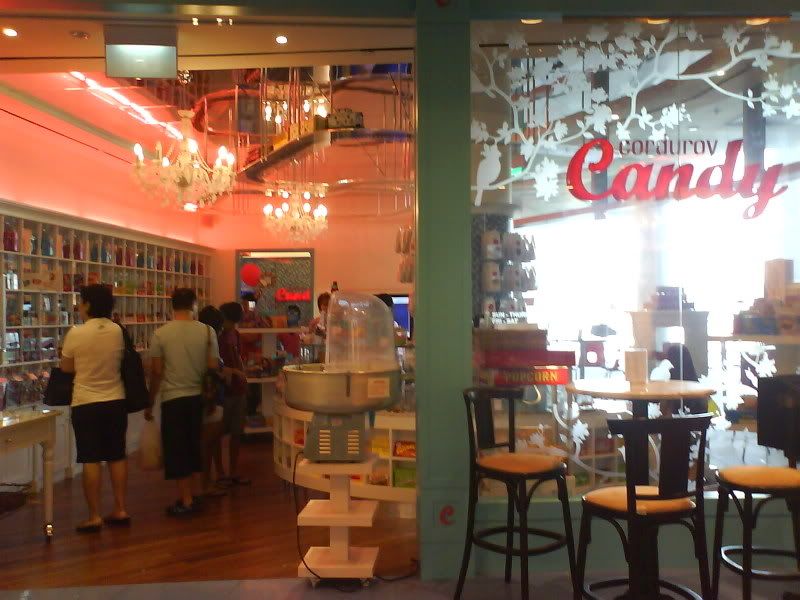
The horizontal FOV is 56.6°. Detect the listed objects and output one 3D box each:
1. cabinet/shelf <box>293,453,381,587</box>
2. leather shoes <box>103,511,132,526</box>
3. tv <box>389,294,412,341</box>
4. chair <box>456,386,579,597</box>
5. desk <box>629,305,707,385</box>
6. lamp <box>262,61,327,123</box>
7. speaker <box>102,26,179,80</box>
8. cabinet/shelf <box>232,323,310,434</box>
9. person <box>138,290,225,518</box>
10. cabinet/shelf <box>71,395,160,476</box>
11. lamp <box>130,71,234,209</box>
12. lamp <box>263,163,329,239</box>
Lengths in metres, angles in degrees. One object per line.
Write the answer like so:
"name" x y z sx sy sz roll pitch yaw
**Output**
"cabinet/shelf" -0.444 1.630 5.520 0.686 0.828 0.720 -4 -6 27
"leather shoes" -2.418 1.876 6.334 0.239 0.074 0.095 0 0 1
"tv" 0.043 0.215 12.363 0.479 0.785 0.476 -6 17 -16
"chair" 0.809 1.329 5.173 0.816 1.441 0.940 0 0 13
"desk" 2.151 0.271 5.862 0.663 0.507 0.664 -3 10 -21
"lamp" -1.233 -2.319 8.795 0.789 0.719 1.474 0 0 -8
"speaker" -1.978 -1.926 5.683 0.436 0.432 0.298 0 8 -6
"cabinet/shelf" -1.785 1.005 9.436 1.277 1.327 1.128 0 2 -5
"person" -1.953 0.893 6.737 0.624 2.012 0.377 0 0 -21
"cabinet/shelf" -2.467 1.092 6.462 0.643 0.850 0.470 -1 0 -24
"lamp" -2.420 -1.605 8.404 1.080 1.277 1.075 0 -2 26
"lamp" -1.620 -1.391 11.618 0.784 0.853 0.865 5 -1 -8
